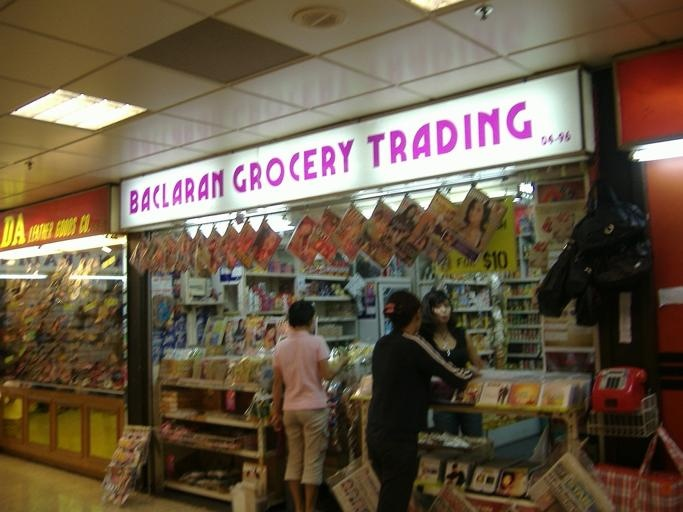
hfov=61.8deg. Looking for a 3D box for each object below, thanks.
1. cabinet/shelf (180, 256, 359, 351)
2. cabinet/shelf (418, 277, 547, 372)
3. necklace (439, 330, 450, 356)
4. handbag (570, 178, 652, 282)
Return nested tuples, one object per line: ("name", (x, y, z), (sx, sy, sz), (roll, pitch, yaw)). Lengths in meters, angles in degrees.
("cabinet/shelf", (-0.935, 0.543, 6.530), (0.959, 0.966, 0.315), (3, -25, 5))
("cabinet/shelf", (1.867, 0.768, 7.172), (1.243, 1.298, 0.407), (-2, 24, 14))
("necklace", (0.897, 0.761, 4.919), (0.096, 0.142, 0.054), (13, -33, 7))
("handbag", (1.862, -0.164, 3.888), (0.403, 0.598, 0.320), (-30, -29, 20))
